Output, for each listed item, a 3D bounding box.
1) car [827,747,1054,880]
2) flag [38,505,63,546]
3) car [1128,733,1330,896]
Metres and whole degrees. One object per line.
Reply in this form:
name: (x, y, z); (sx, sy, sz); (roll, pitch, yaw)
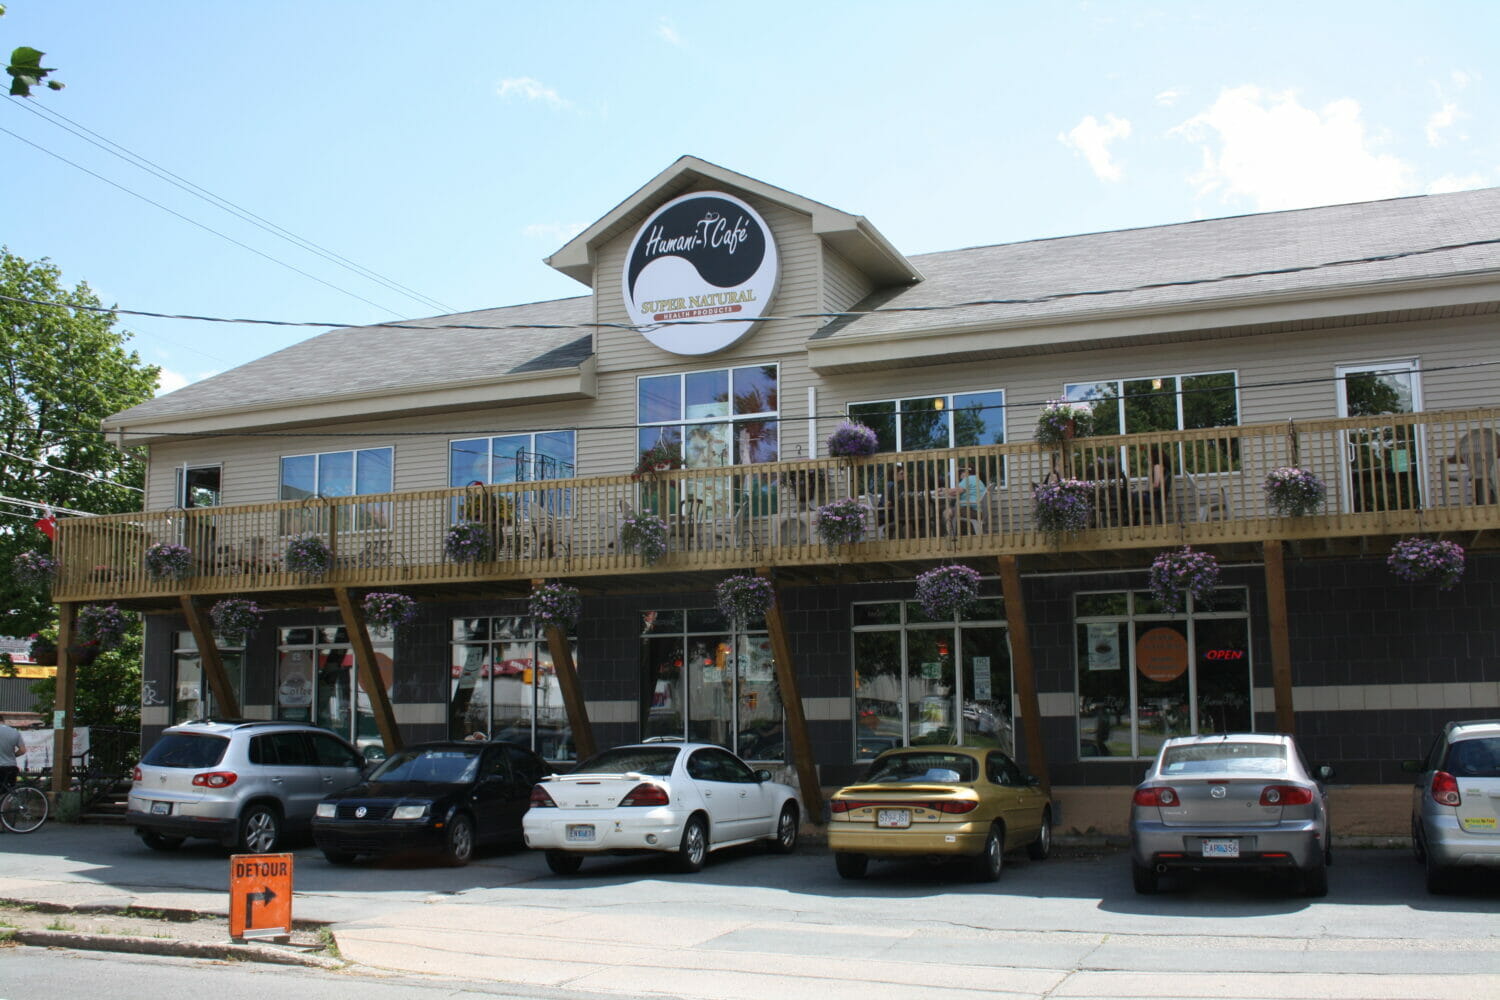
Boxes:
car: (2.905, 4.588, 22.887); (3.189, 1.866, 1.784); (-6, 9, -38)
flag: (-15.680, 0.533, 35.112); (0.753, 0.540, 1.126); (-1, -19, -27)
car: (6.319, 4.138, 20.728); (1.751, 1.256, 2.963); (-2, -4, 14)
